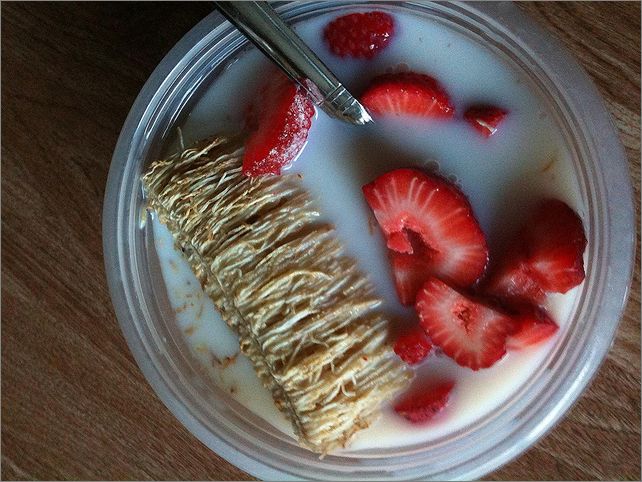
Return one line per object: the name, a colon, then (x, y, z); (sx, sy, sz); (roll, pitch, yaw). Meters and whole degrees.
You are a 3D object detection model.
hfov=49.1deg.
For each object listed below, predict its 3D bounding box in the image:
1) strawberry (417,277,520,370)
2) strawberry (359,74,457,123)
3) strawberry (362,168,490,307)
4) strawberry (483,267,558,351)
strawberry: (0.229, 0.132, 1.127); (0.145, 0.051, 0.212); (11, 29, 2)
strawberry: (0.137, -0.243, 1.122); (0.144, 0.075, 0.036); (-5, 73, -9)
strawberry: (0.170, -0.017, 1.104); (0.153, 0.071, 0.213); (-21, 84, 1)
strawberry: (0.314, 0.105, 1.143); (0.122, 0.104, 0.032); (23, 96, -25)
